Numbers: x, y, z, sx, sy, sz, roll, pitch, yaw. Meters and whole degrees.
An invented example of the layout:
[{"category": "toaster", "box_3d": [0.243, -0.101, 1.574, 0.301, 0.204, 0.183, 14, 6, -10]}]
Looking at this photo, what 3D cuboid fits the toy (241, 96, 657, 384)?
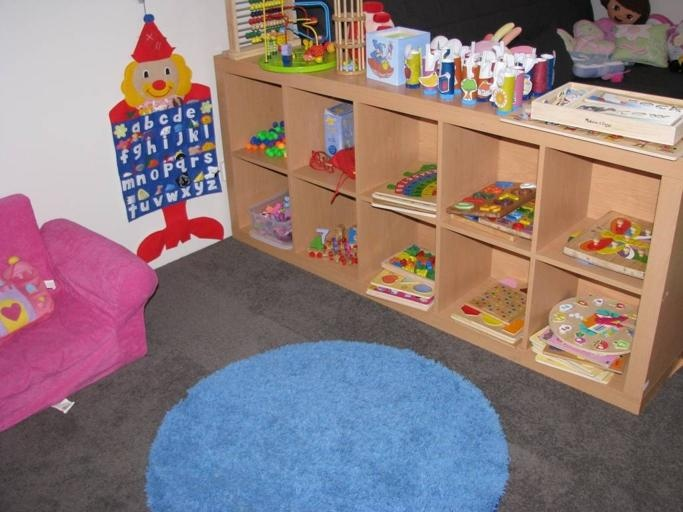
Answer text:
[{"category": "toy", "box_3d": [0.544, -0.051, 2.585, 1.345, 0.656, 0.292, 22, 36, 34]}]
